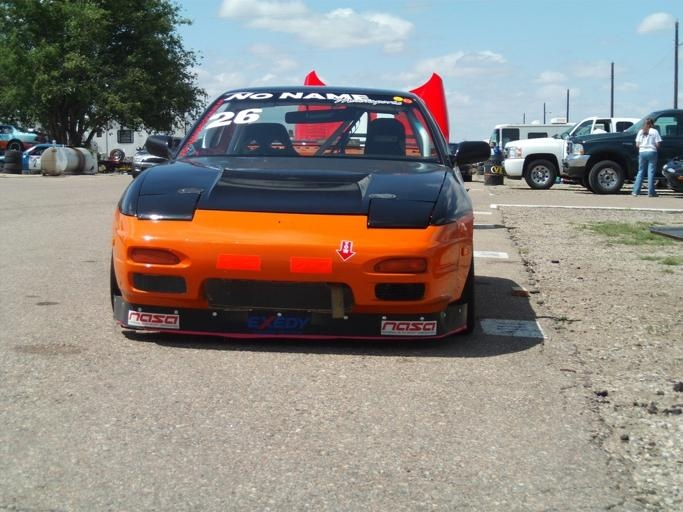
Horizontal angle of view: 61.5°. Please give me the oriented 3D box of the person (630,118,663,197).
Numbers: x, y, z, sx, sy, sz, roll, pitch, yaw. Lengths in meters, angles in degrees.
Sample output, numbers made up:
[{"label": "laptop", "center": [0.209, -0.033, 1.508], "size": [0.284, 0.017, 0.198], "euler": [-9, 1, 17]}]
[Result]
[{"label": "person", "center": [9.174, -2.984, 17.260], "size": [0.779, 2.334, 0.624], "euler": [7, 15, 16]}]

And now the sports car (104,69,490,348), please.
[{"label": "sports car", "center": [-0.196, -0.470, 4.459], "size": [2.567, 1.905, 2.458], "euler": [4, 12, 10]}]
